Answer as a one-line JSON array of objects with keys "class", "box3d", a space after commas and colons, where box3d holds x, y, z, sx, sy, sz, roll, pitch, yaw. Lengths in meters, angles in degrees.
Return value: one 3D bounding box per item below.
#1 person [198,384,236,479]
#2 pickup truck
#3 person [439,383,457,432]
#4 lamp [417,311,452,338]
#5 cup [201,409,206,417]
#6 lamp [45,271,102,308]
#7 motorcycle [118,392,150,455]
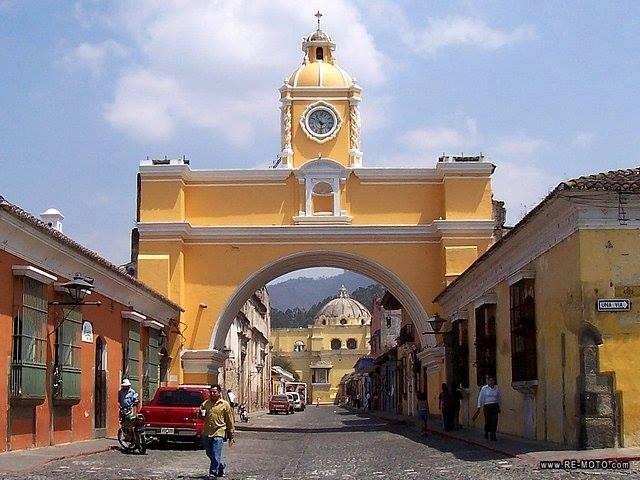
[{"class": "person", "box3d": [-1.923, 3.581, 17.595, 0.581, 1.770, 0.827, 1, -15, -3]}, {"class": "pickup truck", "box3d": [-3.395, 4.469, 23.733, 1.428, 1.166, 2.610, -1, -6, 7]}, {"class": "person", "box3d": [3.955, 5.136, 28.699, 0.487, 1.467, 0.996, -2, -15, 8]}, {"class": "lamp", "box3d": [4.134, 2.963, 32.303, 0.964, 0.673, 0.979, 0, -6, 3]}, {"class": "cup", "box3d": [-2.171, 3.256, 17.621, 0.125, 0.124, 0.104, -1, -6, 11]}, {"class": "lamp", "box3d": [-5.949, 1.217, 22.996, 0.901, 0.616, 0.915, -2, -4, 16]}, {"class": "motorcycle", "box3d": [-4.400, 4.277, 22.193, 0.650, 1.606, 1.554, 4, -16, -12]}]
